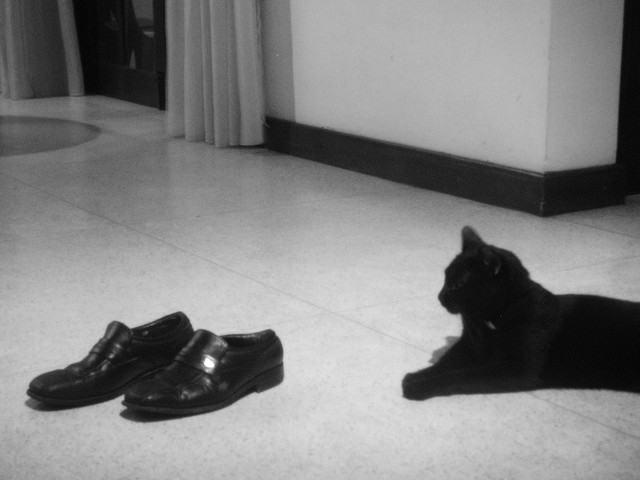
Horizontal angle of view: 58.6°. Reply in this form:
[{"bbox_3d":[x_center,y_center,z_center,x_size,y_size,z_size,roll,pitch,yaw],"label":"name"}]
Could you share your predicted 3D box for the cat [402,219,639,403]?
[{"bbox_3d":[0.395,0.141,1.044,0.449,0.377,0.190,0,15,-4],"label":"cat"}]
